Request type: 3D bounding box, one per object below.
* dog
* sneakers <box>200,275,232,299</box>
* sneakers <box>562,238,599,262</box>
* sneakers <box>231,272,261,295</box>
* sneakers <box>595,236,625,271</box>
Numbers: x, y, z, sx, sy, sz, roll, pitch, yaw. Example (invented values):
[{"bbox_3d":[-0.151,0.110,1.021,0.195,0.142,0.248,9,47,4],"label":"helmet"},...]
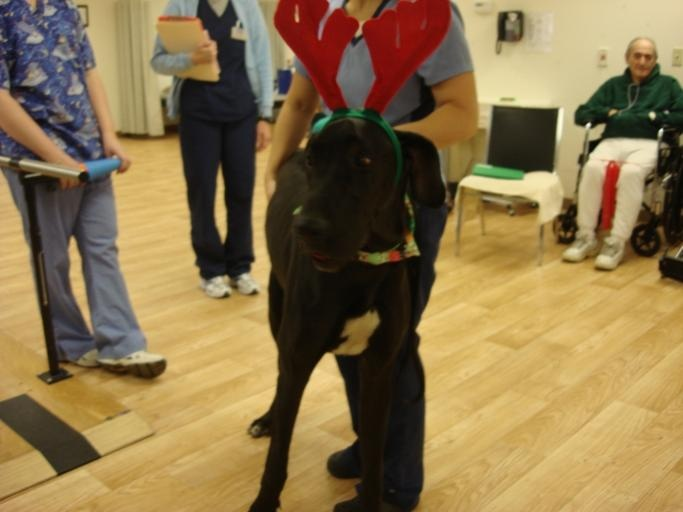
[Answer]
[{"bbox_3d":[0.019,0.278,1.579,0.483,1.332,0.552,1,20,4],"label":"dog"},{"bbox_3d":[-0.809,0.198,3.652,0.099,0.116,0.238,-4,9,-37],"label":"sneakers"},{"bbox_3d":[1.884,-0.063,4.426,0.378,0.152,0.120,-16,26,-34],"label":"sneakers"},{"bbox_3d":[-0.625,0.178,3.690,0.097,0.111,0.241,-10,15,-31],"label":"sneakers"},{"bbox_3d":[2.000,-0.017,4.209,0.129,0.209,0.230,15,26,36],"label":"sneakers"}]
